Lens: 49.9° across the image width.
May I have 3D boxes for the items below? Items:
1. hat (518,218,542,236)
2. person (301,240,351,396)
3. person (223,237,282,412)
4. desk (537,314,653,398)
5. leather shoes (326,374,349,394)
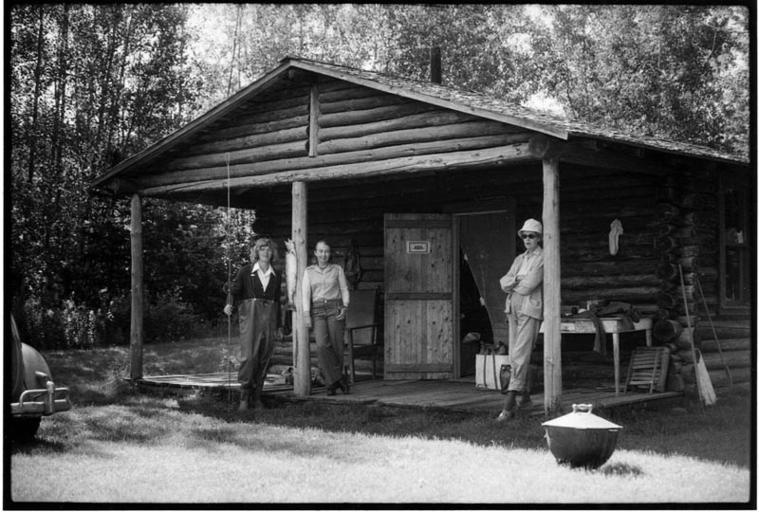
[{"bbox_3d":[2.232,-0.395,11.820,0.281,0.173,0.307,1,-1,37],"label":"hat"},{"bbox_3d":[-0.842,1.019,13.047,0.759,2.448,0.640,-2,8,-5],"label":"person"},{"bbox_3d":[-1.952,1.077,12.921,0.835,2.668,0.580,-3,8,-11],"label":"person"},{"bbox_3d":[3.862,1.594,13.293,1.060,1.037,1.377,16,-2,-17],"label":"desk"},{"bbox_3d":[-0.665,2.060,13.010,0.165,0.230,0.514,-7,-11,26],"label":"leather shoes"}]
